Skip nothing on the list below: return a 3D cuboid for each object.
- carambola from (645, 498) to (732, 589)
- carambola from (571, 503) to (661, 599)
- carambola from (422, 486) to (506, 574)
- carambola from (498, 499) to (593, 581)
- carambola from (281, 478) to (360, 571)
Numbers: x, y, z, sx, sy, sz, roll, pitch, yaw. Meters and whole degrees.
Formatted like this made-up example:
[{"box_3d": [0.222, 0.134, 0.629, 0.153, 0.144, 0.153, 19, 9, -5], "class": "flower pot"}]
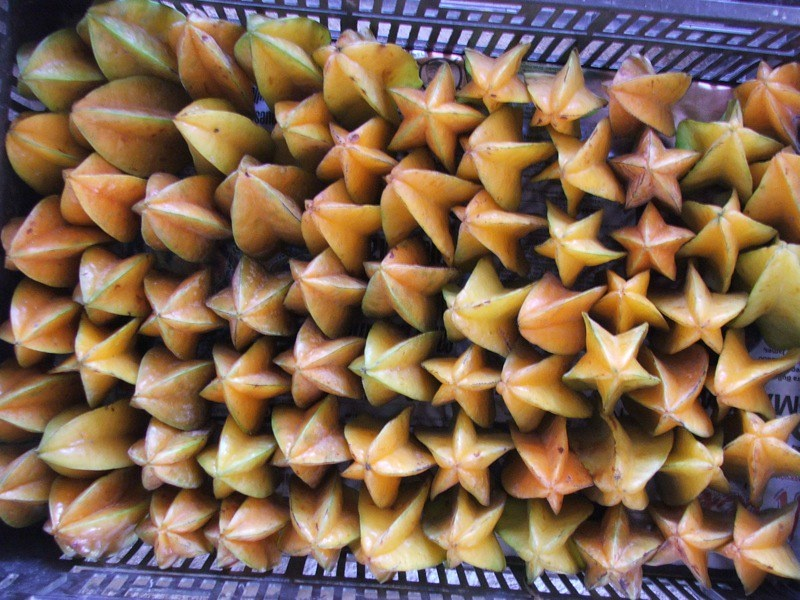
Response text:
[{"box_3d": [0.616, 0.514, 1.488, 0.177, 0.082, 0.140, -16, 32, -29], "class": "carambola"}, {"box_3d": [0.449, 0.524, 1.489, 0.163, 0.214, 0.084, 3, 22, -14], "class": "carambola"}, {"box_3d": [0.137, 0.479, 1.506, 0.173, 0.196, 0.076, 10, -35, -10], "class": "carambola"}, {"box_3d": [0.305, 0.488, 1.473, 0.147, 0.226, 0.083, -13, -5, 8], "class": "carambola"}, {"box_3d": [-0.168, 0.456, 1.475, 0.134, 0.222, 0.088, 4, 31, 8], "class": "carambola"}]
